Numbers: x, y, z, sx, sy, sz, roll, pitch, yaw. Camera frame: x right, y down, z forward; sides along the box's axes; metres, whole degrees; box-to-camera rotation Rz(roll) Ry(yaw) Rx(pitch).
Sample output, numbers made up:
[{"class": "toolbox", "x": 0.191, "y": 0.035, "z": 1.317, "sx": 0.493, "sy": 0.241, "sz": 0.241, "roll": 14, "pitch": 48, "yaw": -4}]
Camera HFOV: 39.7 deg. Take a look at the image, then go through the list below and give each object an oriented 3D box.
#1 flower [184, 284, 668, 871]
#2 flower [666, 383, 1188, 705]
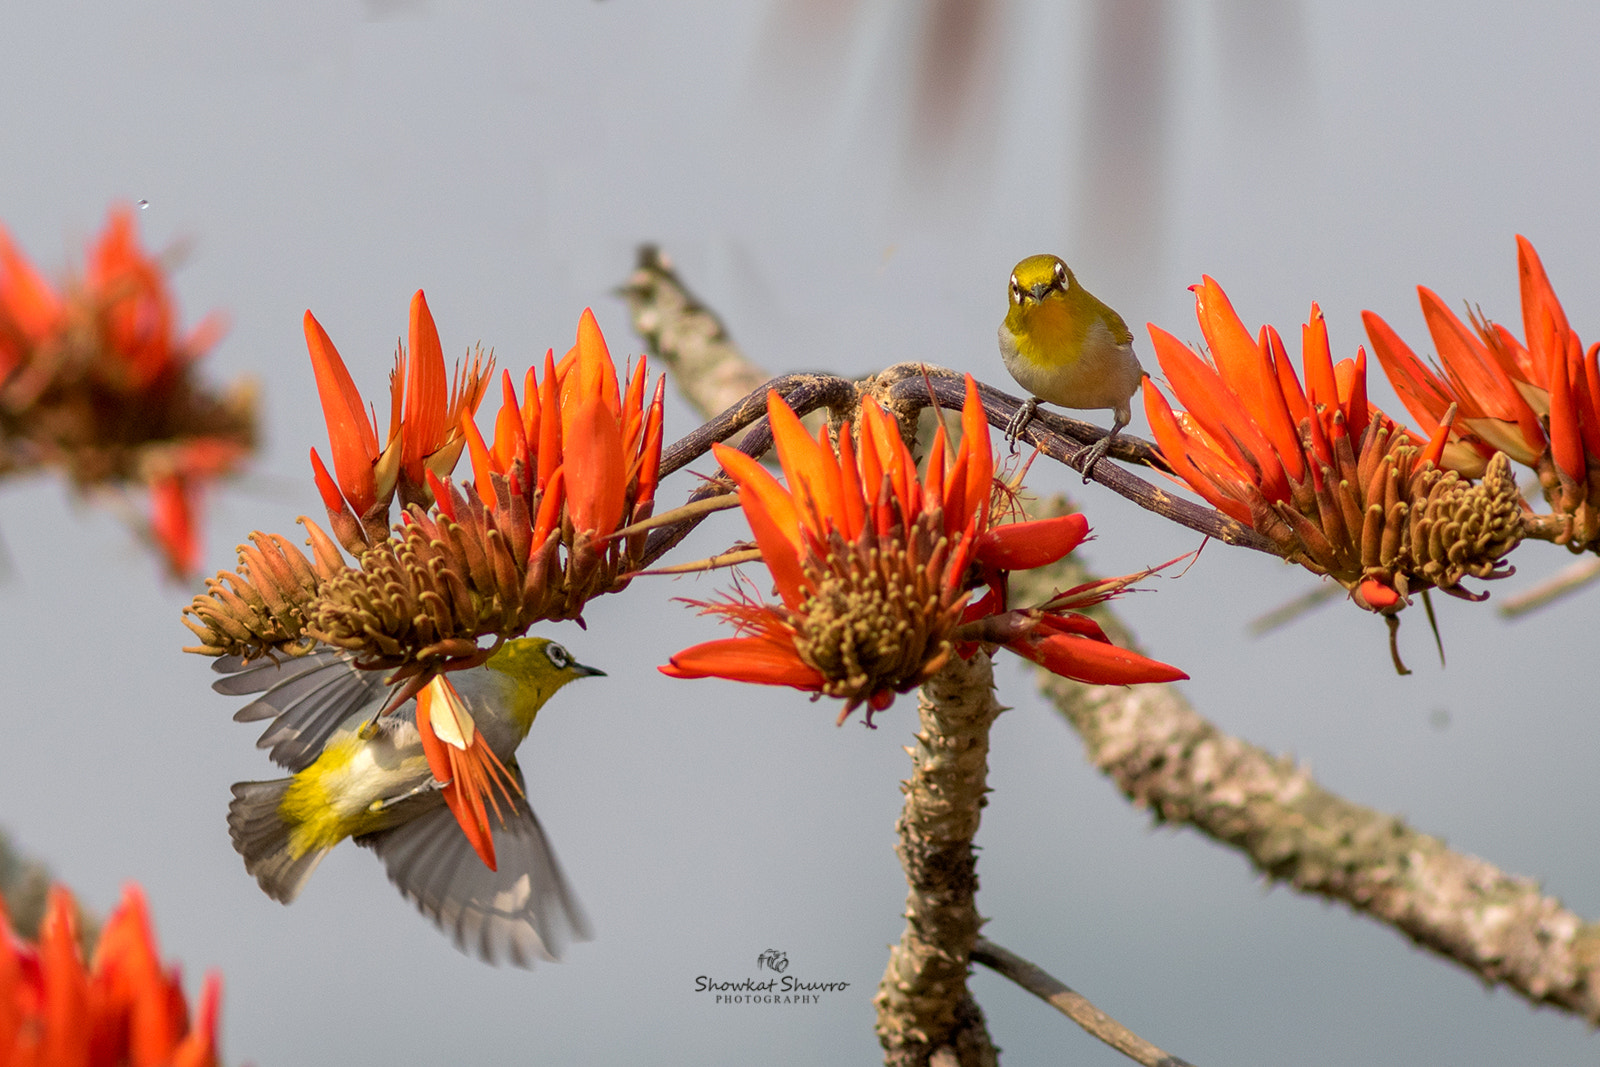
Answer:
[{"class": "flower", "x": -0.581, "y": 0.074, "z": 3.576, "sx": 0.939, "sy": 0.904, "sz": 0.590, "roll": -20, "pitch": -16, "yaw": 35}, {"class": "flower", "x": 0.151, "y": 0.050, "z": 3.541, "sx": 0.643, "sy": 0.590, "sz": 0.355, "roll": -14, "pitch": -55, "yaw": -14}]
